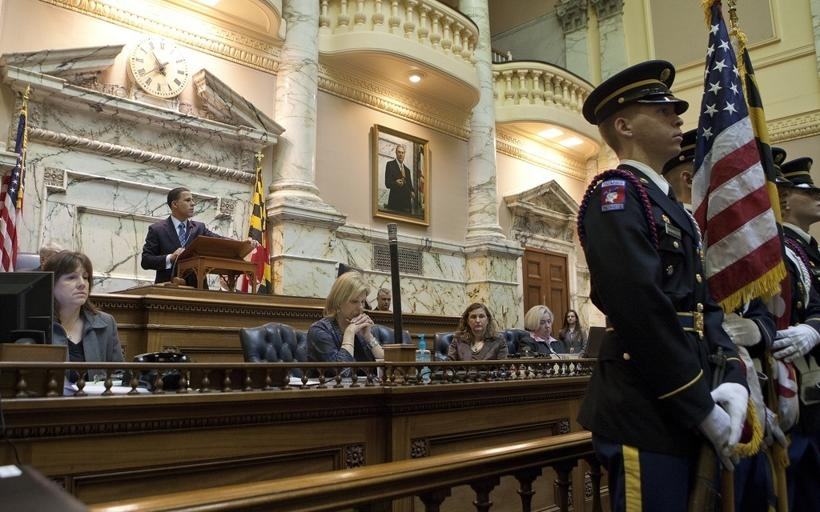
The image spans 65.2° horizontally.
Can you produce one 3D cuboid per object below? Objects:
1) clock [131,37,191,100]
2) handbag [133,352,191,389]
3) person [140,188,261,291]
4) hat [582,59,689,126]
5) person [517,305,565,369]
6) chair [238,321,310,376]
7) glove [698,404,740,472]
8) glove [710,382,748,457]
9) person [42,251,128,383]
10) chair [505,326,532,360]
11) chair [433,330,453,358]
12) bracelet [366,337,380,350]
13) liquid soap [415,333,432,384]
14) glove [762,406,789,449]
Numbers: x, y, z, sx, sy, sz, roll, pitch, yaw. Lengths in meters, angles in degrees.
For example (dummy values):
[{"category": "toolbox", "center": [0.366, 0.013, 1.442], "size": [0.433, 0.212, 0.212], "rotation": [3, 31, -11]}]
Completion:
[{"category": "clock", "center": [-3.020, -2.276, 7.767], "size": [0.080, 0.729, 0.729], "rotation": [2, 9, 41]}, {"category": "handbag", "center": [-1.268, 0.576, 3.271], "size": [0.309, 0.232, 0.197], "rotation": [1, 1, -8]}, {"category": "person", "center": [-2.313, -0.161, 6.961], "size": [0.640, 1.281, 0.932], "rotation": [-29, -27, 36]}, {"category": "hat", "center": [1.030, -0.695, 2.970], "size": [0.376, 0.157, 0.333], "rotation": [-14, -12, 25]}, {"category": "person", "center": [1.352, 0.852, 6.526], "size": [0.711, 0.622, 0.392], "rotation": [8, -13, -36]}, {"category": "chair", "center": [-1.032, 0.704, 4.770], "size": [0.402, 0.544, 0.431], "rotation": [11, -31, -37]}, {"category": "glove", "center": [1.212, 0.712, 2.518], "size": [0.073, 0.215, 0.160], "rotation": [-23, -16, 21]}, {"category": "glove", "center": [1.278, 0.636, 2.536], "size": [0.167, 0.225, 0.066], "rotation": [3, -8, -42]}, {"category": "person", "center": [-1.970, 0.346, 3.879], "size": [0.452, 0.777, 0.856], "rotation": [3, -9, -29]}, {"category": "chair", "center": [1.114, 0.912, 6.746], "size": [0.284, 0.407, 0.330], "rotation": [4, -14, -20]}, {"category": "chair", "center": [0.328, 0.893, 6.481], "size": [0.168, 0.235, 0.185], "rotation": [3, -24, -4]}, {"category": "bracelet", "center": [-0.268, 0.644, 4.696], "size": [0.055, 0.081, 0.085], "rotation": [-45, -7, -9]}, {"category": "liquid soap", "center": [0.081, 0.653, 4.202], "size": [0.087, 0.224, 0.085], "rotation": [-1, -9, -27]}, {"category": "glove", "center": [1.726, 0.813, 3.067], "size": [0.071, 0.157, 0.118], "rotation": [-36, 6, 30]}]
